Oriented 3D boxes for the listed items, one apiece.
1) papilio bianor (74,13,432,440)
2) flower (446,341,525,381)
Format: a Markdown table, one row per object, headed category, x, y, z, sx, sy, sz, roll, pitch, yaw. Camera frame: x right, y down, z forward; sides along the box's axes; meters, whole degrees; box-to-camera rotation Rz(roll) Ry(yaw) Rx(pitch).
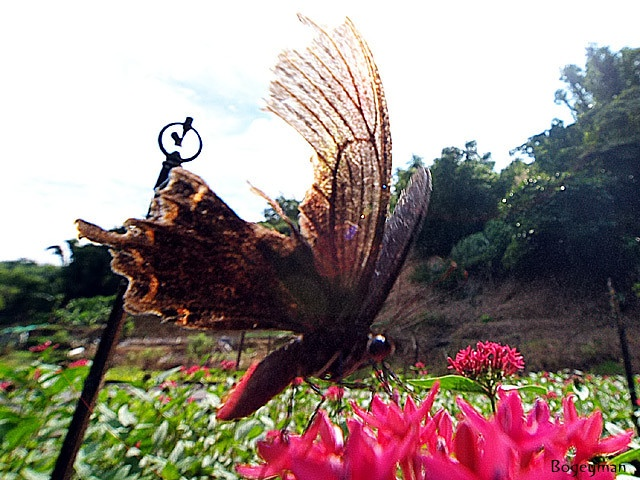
| category | x | y | z | sx | sy | sz | roll | pitch | yaw |
| --- | --- | --- | --- | --- | --- | --- | --- | --- | --- |
| papilio bianor | -0.224 | 0.019 | 1.722 | 1.152 | 1.534 | 0.731 | 4 | -21 | 14 |
| flower | 0.919 | 0.680 | 2.110 | 0.301 | 0.172 | 0.315 | -16 | -12 | 26 |
